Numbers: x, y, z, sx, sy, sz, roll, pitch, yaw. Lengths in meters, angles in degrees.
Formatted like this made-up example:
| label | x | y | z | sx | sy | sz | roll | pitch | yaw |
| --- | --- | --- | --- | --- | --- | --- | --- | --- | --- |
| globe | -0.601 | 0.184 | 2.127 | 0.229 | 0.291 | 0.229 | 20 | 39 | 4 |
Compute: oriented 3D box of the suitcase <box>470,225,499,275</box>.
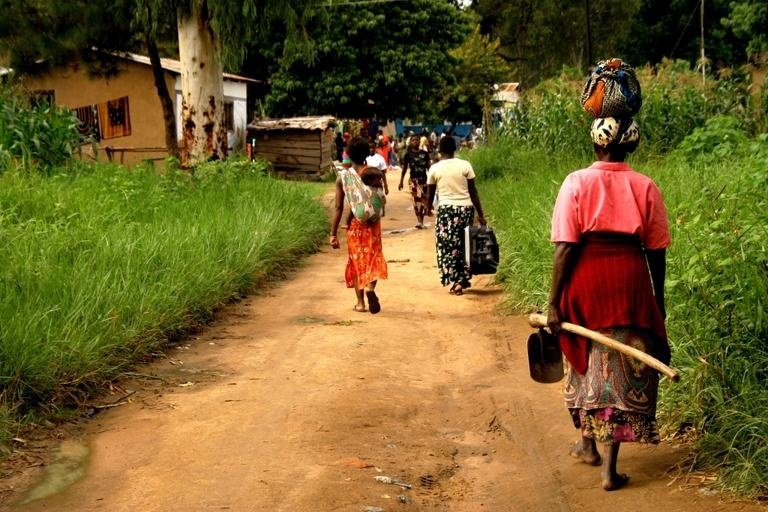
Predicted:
| label | x | y | z | sx | sy | sz | roll | pitch | yaw |
| --- | --- | --- | --- | --- | --- | --- | --- | --- | --- |
| suitcase | 1.208 | -0.067 | 9.236 | 0.315 | 0.395 | 0.555 | -5 | -16 | 2 |

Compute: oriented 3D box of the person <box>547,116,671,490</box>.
| label | x | y | z | sx | sy | sz | roll | pitch | yaw |
| --- | --- | --- | --- | --- | --- | --- | --- | --- | --- |
| person | 1.633 | 0.339 | 5.505 | 0.856 | 2.636 | 0.729 | 3 | 14 | 19 |

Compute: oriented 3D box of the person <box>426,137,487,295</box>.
| label | x | y | z | sx | sy | sz | roll | pitch | yaw |
| --- | --- | --- | --- | --- | --- | --- | --- | --- | --- |
| person | 1.007 | -0.574 | 10.372 | 0.583 | 2.117 | 0.799 | -7 | 14 | -24 |

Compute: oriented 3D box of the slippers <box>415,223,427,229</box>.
| label | x | y | z | sx | sy | sz | roll | pitch | yaw |
| --- | --- | --- | --- | --- | --- | --- | --- | --- | --- |
| slippers | 0.796 | -0.617 | 15.811 | 0.286 | 0.096 | 0.139 | -1 | 4 | -8 |

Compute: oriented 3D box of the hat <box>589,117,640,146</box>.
| label | x | y | z | sx | sy | sz | roll | pitch | yaw |
| --- | --- | --- | --- | --- | --- | --- | --- | --- | --- |
| hat | 1.681 | -0.895 | 5.559 | 0.222 | 0.230 | 0.283 | -4 | 5 | -39 |

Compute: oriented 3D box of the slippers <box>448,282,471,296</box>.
| label | x | y | z | sx | sy | sz | roll | pitch | yaw |
| --- | --- | --- | --- | --- | --- | --- | --- | --- | --- |
| slippers | 1.018 | 0.458 | 10.387 | 0.177 | 0.115 | 0.234 | -4 | -8 | -10 |
